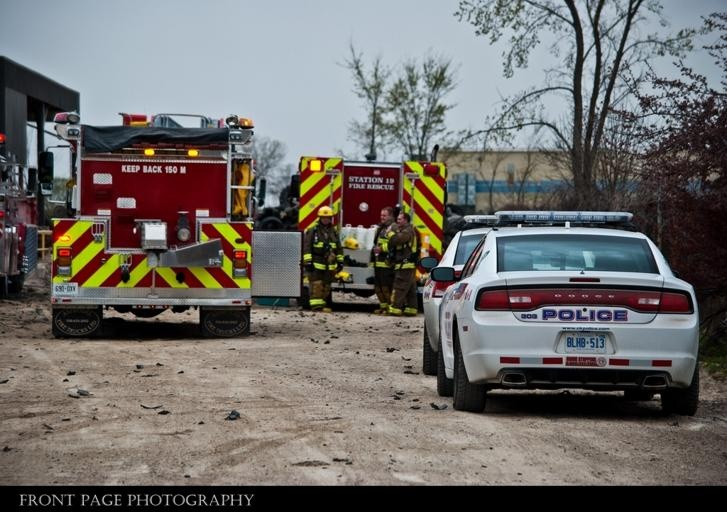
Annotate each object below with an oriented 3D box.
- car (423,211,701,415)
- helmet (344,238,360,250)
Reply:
[{"bbox_3d":[1.946,0.479,7.802,1.511,1.222,2.836,1,2,1],"label":"car"},{"bbox_3d":[-0.280,-0.286,18.168,0.218,0.180,0.292,-3,2,-30],"label":"helmet"}]
